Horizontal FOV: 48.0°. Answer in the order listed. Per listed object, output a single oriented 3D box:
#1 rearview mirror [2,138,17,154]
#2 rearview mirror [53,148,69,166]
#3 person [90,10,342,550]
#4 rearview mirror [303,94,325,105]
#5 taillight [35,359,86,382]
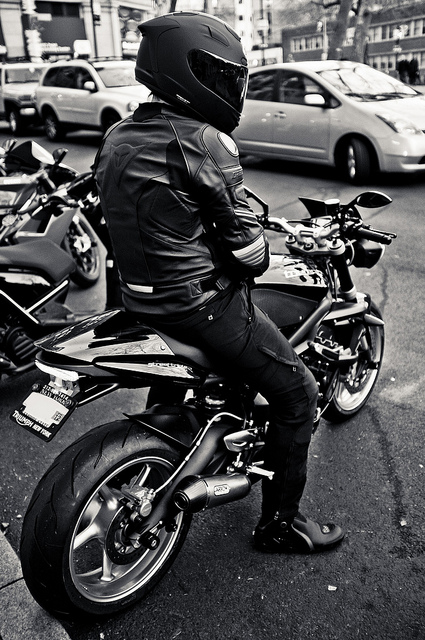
[{"bbox_3d":[-1.724,-1.470,4.044,0.107,0.150,0.366,-6,16,-22],"label":"rearview mirror"},{"bbox_3d":[-1.183,-1.272,3.733,0.082,0.102,0.173,5,26,-8],"label":"rearview mirror"},{"bbox_3d":[0.031,0.072,1.667,0.707,2.012,0.421,-11,17,-36],"label":"person"},{"bbox_3d":[1.184,-2.571,5.564,0.228,0.115,0.271,3,15,13],"label":"rearview mirror"},{"bbox_3d":[-0.453,0.155,1.419,0.121,0.033,0.071,27,-4,-18],"label":"taillight"}]
